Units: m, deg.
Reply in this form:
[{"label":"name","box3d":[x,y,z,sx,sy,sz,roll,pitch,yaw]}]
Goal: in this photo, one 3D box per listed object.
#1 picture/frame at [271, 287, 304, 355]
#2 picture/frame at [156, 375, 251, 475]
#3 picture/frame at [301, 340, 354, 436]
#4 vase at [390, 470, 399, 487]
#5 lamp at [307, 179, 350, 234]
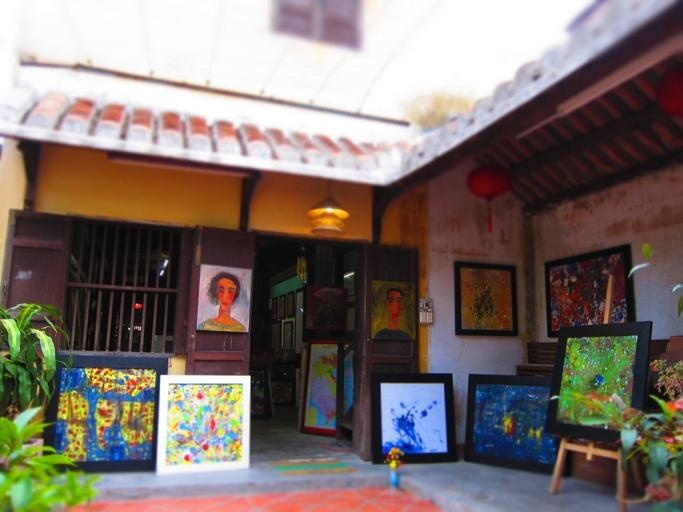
[{"label":"picture/frame","box3d":[-1.425,1.710,12.685,0.438,1.648,2.594,2,-8,-15]},{"label":"picture/frame","box3d":[-1.434,1.717,4.899,0.853,0.917,0.069,6,-19,-22]},{"label":"picture/frame","box3d":[-0.190,1.991,7.204,0.085,1.238,1.162,15,-22,-28]},{"label":"vase","box3d":[0.535,2.239,4.936,0.107,0.194,0.116,0,-5,-8]},{"label":"lamp","box3d":[-0.154,-0.538,5.721,0.474,0.662,0.499,1,-12,-3]}]
